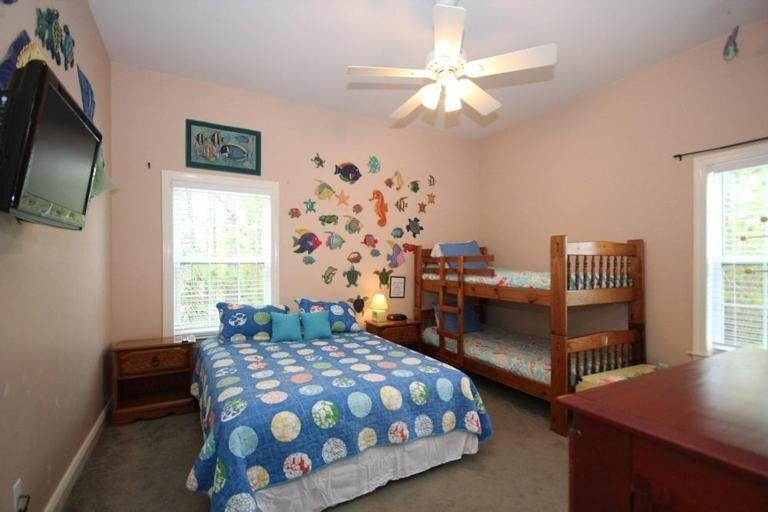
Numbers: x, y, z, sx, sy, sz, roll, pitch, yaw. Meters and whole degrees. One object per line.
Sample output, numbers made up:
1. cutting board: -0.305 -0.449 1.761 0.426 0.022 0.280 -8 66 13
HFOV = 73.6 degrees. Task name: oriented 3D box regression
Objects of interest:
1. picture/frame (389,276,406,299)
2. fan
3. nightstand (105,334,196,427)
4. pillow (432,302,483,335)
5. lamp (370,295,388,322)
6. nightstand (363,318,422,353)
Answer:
1. picture/frame: 0.156 0.396 6.493 0.275 0.305 0.032 4 -3 -32
2. fan: 0.532 -1.493 4.191 1.177 0.526 1.186 -12 -21 38
3. nightstand: -2.322 1.139 5.230 0.993 0.907 0.701 1 -6 -28
4. pillow: 0.856 0.757 6.189 0.424 0.288 0.146 4 -32 -29
5. lamp: -0.066 0.629 6.173 0.189 0.337 0.249 -2 0 -5
6. nightstand: 0.135 0.868 6.164 0.502 0.467 0.363 0 2 -31
